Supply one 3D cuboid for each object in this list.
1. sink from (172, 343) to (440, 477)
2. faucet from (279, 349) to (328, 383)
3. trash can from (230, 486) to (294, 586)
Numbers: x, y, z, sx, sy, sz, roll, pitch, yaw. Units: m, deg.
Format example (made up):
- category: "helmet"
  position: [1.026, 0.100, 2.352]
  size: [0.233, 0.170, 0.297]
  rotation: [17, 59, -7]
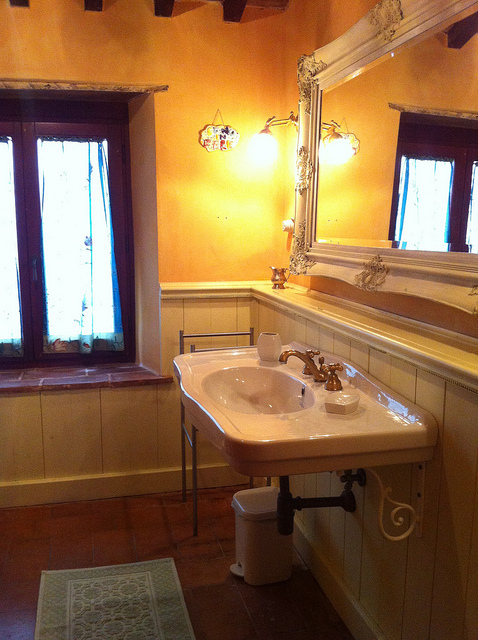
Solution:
- category: "sink"
  position: [0.102, 0.201, 1.379]
  size: [0.505, 0.203, 0.798]
  rotation: [-1, 5, -12]
- category: "faucet"
  position: [0.174, 0.130, 1.446]
  size: [0.137, 0.118, 0.068]
  rotation: [0, 1, -12]
- category: "trash can"
  position: [0.075, 0.773, 1.816]
  size: [0.197, 0.278, 0.218]
  rotation: [0, 6, -9]
